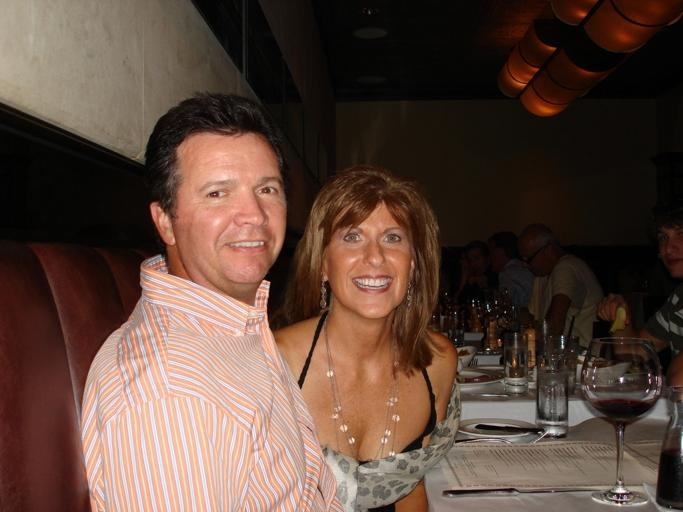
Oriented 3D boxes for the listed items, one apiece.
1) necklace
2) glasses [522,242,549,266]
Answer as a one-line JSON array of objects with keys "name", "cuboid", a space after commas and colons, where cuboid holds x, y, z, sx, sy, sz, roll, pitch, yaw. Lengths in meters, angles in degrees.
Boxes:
[{"name": "necklace", "cuboid": [0.078, 0.537, 2.037, 0.262, 0.586, 0.028, 6, 30, 12]}, {"name": "glasses", "cuboid": [1.680, -0.027, 4.799, 0.160, 0.049, 0.156, -40, 2, -4]}]
